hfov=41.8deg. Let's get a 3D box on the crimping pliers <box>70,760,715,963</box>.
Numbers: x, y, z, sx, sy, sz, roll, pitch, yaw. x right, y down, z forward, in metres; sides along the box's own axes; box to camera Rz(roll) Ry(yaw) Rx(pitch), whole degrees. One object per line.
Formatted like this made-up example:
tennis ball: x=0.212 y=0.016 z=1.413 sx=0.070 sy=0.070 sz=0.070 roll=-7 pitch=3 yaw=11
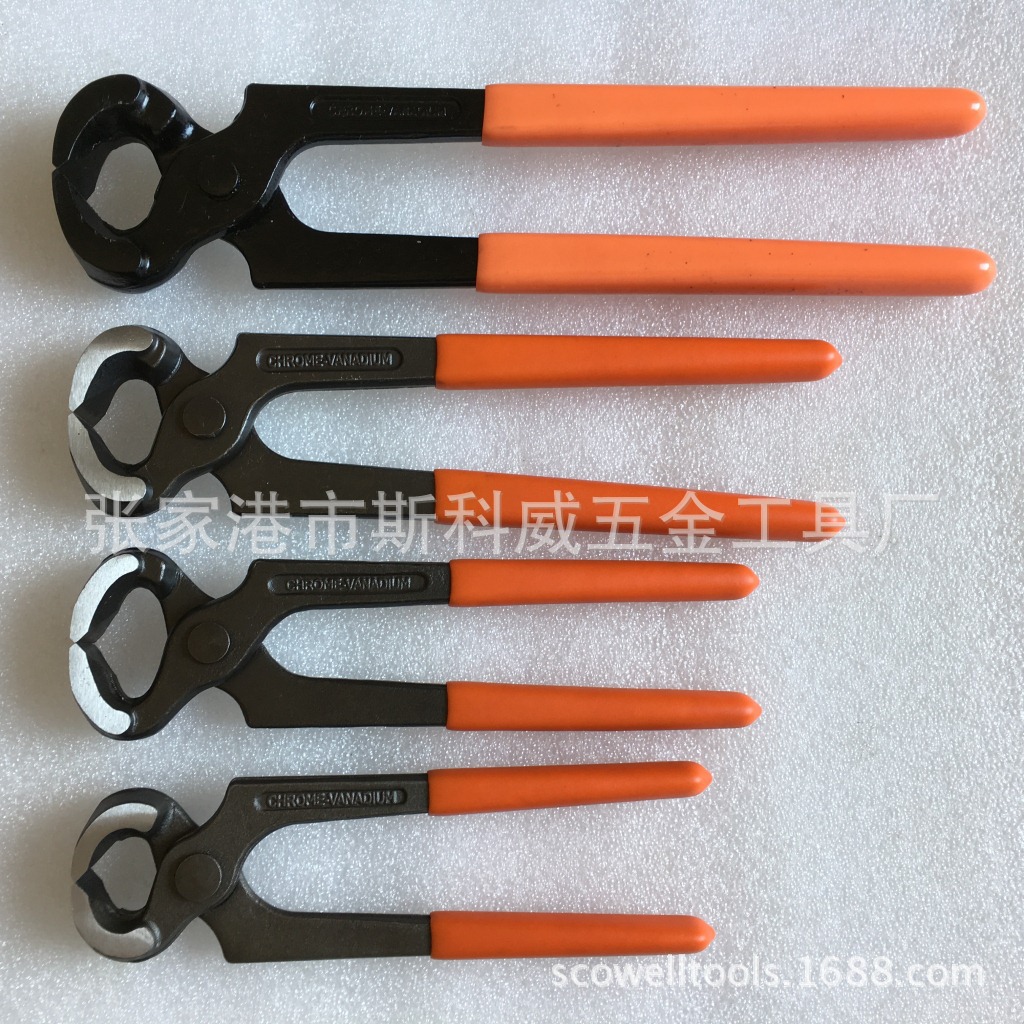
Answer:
crimping pliers: x=-0.114 y=0.348 z=1.342 sx=0.621 sy=0.112 sz=0.186 roll=-2 pitch=78 yaw=7
